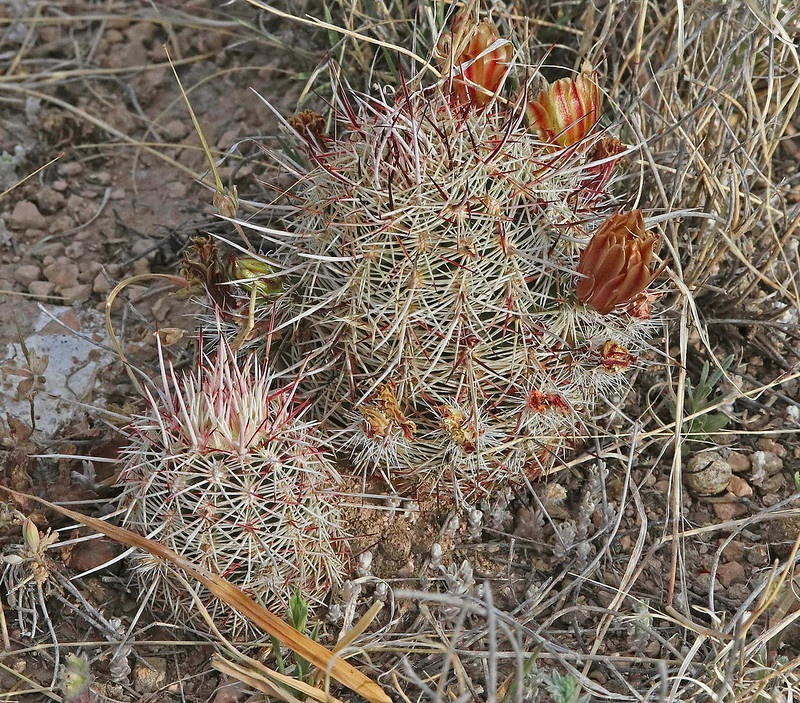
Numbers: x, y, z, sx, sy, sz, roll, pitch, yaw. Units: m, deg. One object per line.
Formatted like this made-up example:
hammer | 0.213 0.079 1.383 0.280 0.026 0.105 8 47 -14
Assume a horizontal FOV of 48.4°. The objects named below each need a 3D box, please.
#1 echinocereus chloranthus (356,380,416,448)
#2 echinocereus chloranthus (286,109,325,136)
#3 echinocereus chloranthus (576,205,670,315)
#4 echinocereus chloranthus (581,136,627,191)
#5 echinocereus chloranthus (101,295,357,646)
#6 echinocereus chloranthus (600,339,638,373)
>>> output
echinocereus chloranthus | -0.041 0.154 2.281 0.131 0.057 0.164 -10 107 -10
echinocereus chloranthus | -0.260 -0.639 2.500 0.077 0.084 0.077 9 103 30
echinocereus chloranthus | 0.549 -0.216 2.235 0.179 0.238 0.175 41 64 12
echinocereus chloranthus | 0.562 -0.523 2.466 0.091 0.206 0.097 -14 97 21
echinocereus chloranthus | -0.419 0.445 2.416 0.597 0.627 0.879 -6 102 11
echinocereus chloranthus | 0.558 0.020 2.276 0.092 0.071 0.078 20 62 0
